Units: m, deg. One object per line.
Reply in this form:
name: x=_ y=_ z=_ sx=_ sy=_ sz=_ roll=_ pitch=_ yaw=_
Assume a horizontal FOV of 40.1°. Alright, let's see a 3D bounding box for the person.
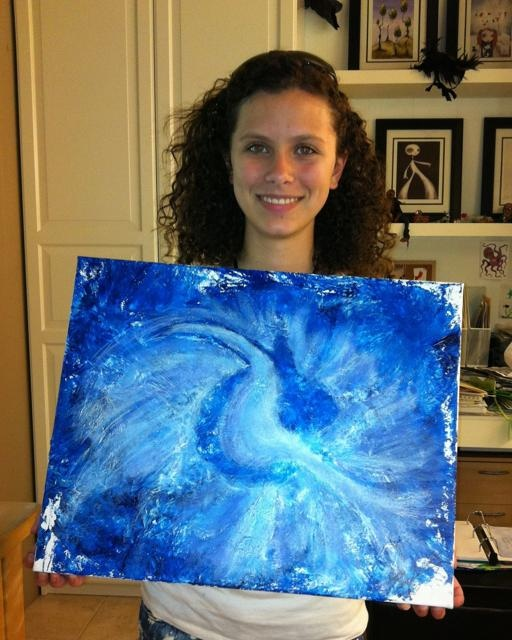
person: x=0.032 y=0.012 z=1.380 sx=0.523 sy=1.065 sz=0.777 roll=0 pitch=12 yaw=4
